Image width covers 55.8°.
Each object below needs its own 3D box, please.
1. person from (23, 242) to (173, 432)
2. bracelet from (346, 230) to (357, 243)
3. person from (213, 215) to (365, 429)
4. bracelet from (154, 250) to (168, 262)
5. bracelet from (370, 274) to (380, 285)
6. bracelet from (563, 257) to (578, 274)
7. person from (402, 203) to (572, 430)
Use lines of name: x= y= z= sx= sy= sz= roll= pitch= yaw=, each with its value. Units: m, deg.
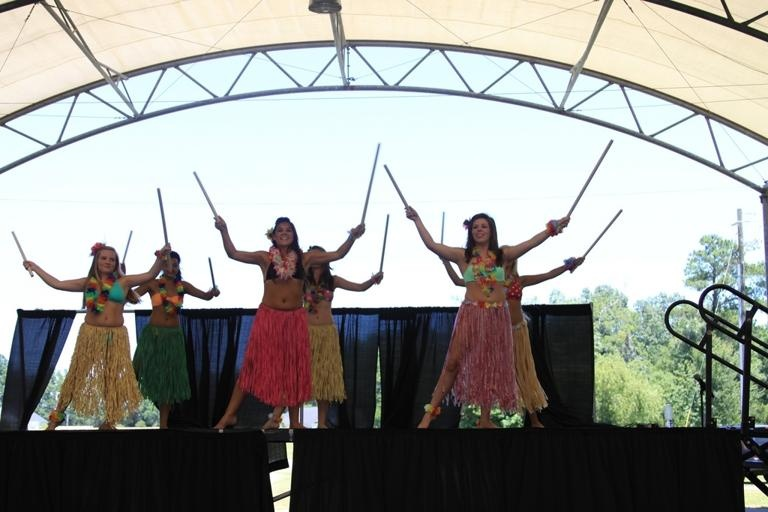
person: x=-2.582 y=0.699 z=6.632 sx=0.865 sy=1.667 sz=0.320 roll=6 pitch=-16 yaw=-24
bracelet: x=-0.302 y=-0.184 z=6.458 sx=0.067 sy=0.094 sz=0.024 roll=-1 pitch=10 yaw=-41
person: x=-1.026 y=0.553 z=6.436 sx=0.757 sy=1.764 sz=0.424 roll=1 pitch=-15 yaw=-7
bracelet: x=-2.115 y=-0.004 z=6.865 sx=0.087 sy=0.056 sz=0.113 roll=1 pitch=-10 yaw=-10
bracelet: x=-0.094 y=0.231 z=7.303 sx=0.052 sy=0.058 sz=0.091 roll=37 pitch=-36 yaw=-2
bracelet: x=1.792 y=0.090 z=7.005 sx=0.111 sy=0.155 sz=0.056 roll=1 pitch=-15 yaw=-7
person: x=0.852 y=0.537 z=6.293 sx=1.130 sy=1.824 sz=0.504 roll=-1 pitch=-15 yaw=2
